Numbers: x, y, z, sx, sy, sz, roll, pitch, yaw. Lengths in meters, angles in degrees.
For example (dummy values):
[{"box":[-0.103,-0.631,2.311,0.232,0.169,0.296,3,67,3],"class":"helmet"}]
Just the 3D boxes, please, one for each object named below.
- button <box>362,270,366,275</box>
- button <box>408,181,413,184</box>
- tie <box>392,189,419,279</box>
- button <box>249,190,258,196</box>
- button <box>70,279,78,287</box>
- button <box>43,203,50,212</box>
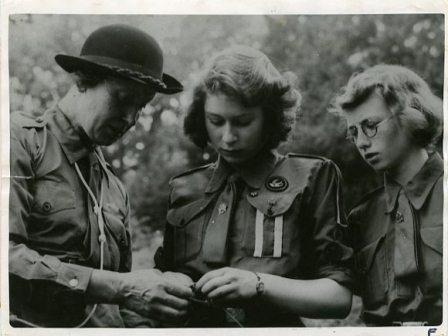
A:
[{"box":[1.096,0.826,6.082,0.030,0.050,0.027,-1,9,-1],"class":"button"},{"box":[1.465,0.114,6.101,0.029,0.022,0.003,5,-6,-1],"class":"button"},{"box":[1.433,0.525,6.072,0.196,0.691,0.044,4,-6,13],"class":"tie"},{"box":[0.221,0.199,6.050,0.038,0.036,0.010,-6,-22,7],"class":"button"},{"box":[-1.145,0.871,5.848,0.061,0.054,0.006,6,-6,-11],"class":"button"},{"box":[-1.358,0.300,5.876,0.049,0.055,0.049,0,11,-5],"class":"button"}]
